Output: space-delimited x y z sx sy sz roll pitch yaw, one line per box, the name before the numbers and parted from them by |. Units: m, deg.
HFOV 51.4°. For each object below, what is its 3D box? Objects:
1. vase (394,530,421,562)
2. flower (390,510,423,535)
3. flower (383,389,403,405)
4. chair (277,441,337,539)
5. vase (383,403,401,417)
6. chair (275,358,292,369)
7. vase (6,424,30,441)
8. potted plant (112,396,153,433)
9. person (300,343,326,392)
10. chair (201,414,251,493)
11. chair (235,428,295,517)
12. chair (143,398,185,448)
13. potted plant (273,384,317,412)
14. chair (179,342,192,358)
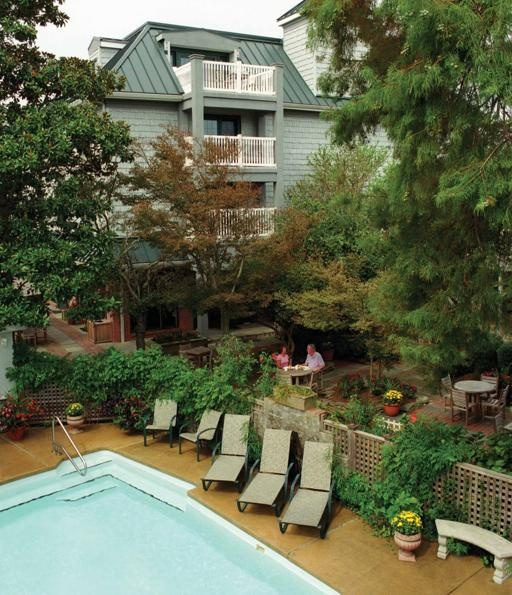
vase | 2.244 3.657 7.943 0.404 0.348 0.391 1 -1 5
flower | 2.267 3.316 7.997 0.354 0.259 0.355 5 13 16
flower | 3.798 2.717 14.820 0.391 0.287 0.408 6 12 31
chair | 0.936 3.331 9.217 0.750 0.841 1.701 1 10 16
vase | 3.750 3.057 14.785 0.376 0.290 0.401 3 6 43
chair | 0.814 1.928 16.176 0.424 0.406 0.230 -1 -3 -20
vase | -6.013 3.379 13.484 0.397 0.290 0.393 -1 3 -7
potted plant | -3.113 2.879 13.683 0.955 0.958 0.683 3 -25 3
person | 1.668 2.232 16.292 0.558 1.708 0.697 -6 16 -37
chair | -0.531 3.063 10.825 0.686 1.095 1.749 0 4 6
chair | 0.290 3.222 10.027 0.724 0.936 1.538 0 16 21
chair | -2.329 3.104 13.220 0.912 1.041 0.907 -18 -31 37
potted plant | 0.778 2.039 10.999 0.861 0.422 0.492 1 9 35
chair | -2.608 1.908 19.532 0.413 0.549 0.444 6 10 36
